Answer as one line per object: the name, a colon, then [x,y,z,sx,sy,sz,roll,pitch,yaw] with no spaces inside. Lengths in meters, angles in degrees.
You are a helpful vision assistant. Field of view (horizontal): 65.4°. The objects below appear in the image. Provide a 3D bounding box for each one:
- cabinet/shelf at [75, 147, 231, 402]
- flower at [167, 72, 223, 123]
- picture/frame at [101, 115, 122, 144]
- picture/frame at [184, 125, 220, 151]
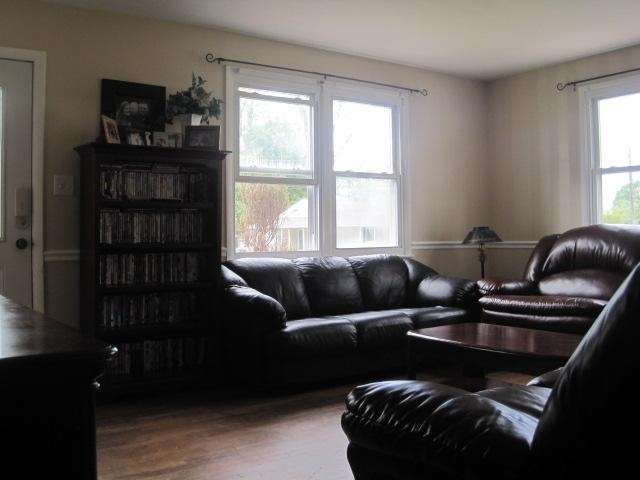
cabinet/shelf: [-1.196,0.154,3.666,0.927,1.646,0.415,0,9,-25]
flower: [-1.063,-1.168,4.209,0.456,0.449,0.446,1,-14,-19]
picture/frame: [-1.551,-0.802,3.682,0.092,0.200,0.205,0,1,-2]
picture/frame: [-0.923,-0.788,3.866,0.222,0.170,0.031,-1,-6,0]
